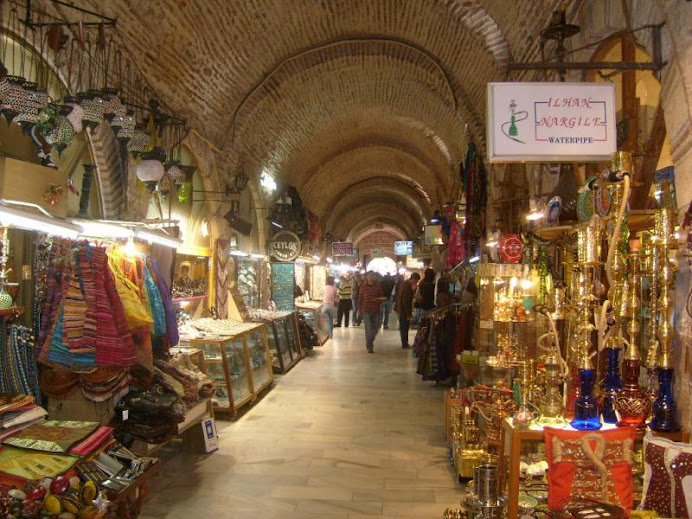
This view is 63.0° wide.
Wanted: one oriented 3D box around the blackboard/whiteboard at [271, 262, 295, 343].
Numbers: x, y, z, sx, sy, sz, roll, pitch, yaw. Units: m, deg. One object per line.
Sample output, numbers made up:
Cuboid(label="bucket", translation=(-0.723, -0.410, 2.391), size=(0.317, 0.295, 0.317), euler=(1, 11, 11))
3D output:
Cuboid(label="blackboard/whiteboard", translation=(-1.456, 0.654, 12.906), size=(0.438, 1.252, 0.637), euler=(-5, 20, -15))
